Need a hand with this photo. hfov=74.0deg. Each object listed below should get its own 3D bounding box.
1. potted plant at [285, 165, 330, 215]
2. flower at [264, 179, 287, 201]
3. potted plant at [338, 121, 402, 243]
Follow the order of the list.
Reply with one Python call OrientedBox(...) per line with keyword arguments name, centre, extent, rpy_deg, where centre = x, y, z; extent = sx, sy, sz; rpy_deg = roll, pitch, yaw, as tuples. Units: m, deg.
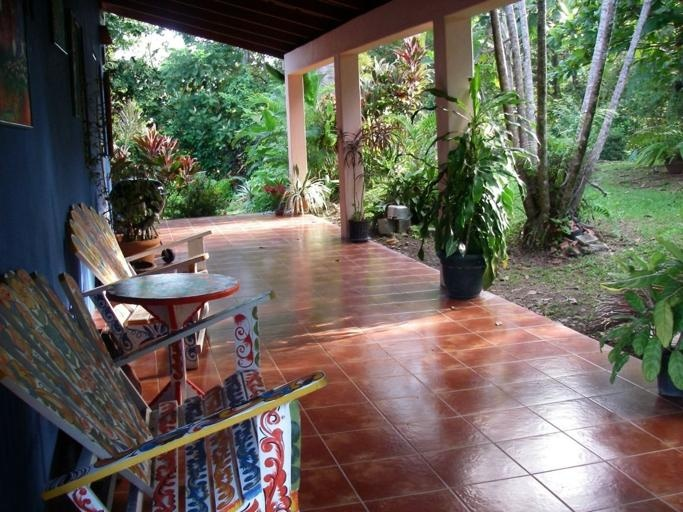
OrientedBox(name="potted plant", centre=(-0.867, -1.610, 11.278), extent=(1.112, 1.037, 1.153), rpy_deg=(4, 3, 39))
OrientedBox(name="flower", centre=(-1.714, -1.824, 11.776), extent=(0.668, 0.651, 0.649), rpy_deg=(0, -5, 0))
OrientedBox(name="potted plant", centre=(0.599, -1.724, 9.361), extent=(1.108, 2.249, 3.635), rpy_deg=(2, 14, 7))
